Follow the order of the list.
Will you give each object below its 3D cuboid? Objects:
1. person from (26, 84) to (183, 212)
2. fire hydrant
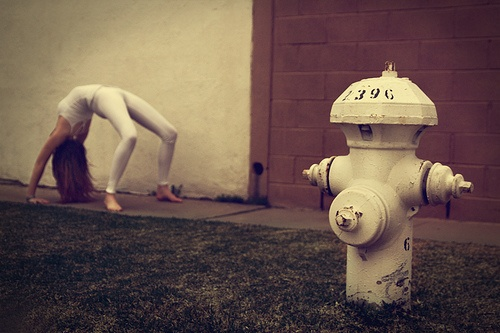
[{"bbox_3d":[-1.701,-0.246,7.735,1.716,1.272,1.134,4,4,36],"label":"person"},{"bbox_3d":[0.988,0.149,5.236,1.006,1.841,0.470,-1,7,-3],"label":"fire hydrant"}]
